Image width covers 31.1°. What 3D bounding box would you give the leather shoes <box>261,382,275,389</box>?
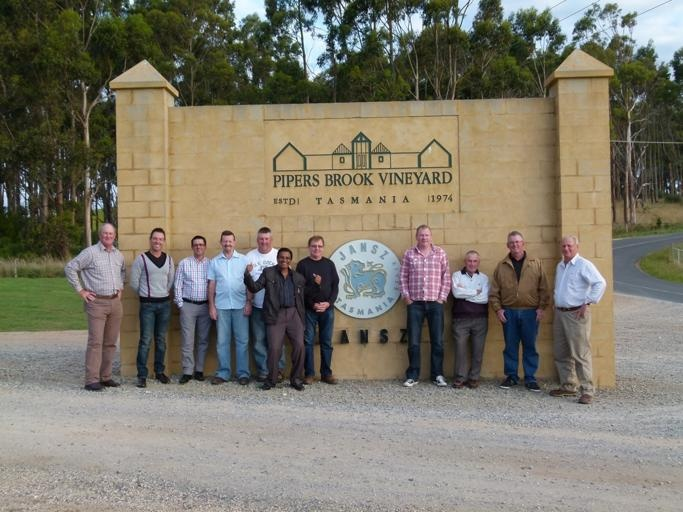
[{"bbox_3d":[-2.233,3.942,37.024,0.398,0.181,0.175,7,-3,-13],"label":"leather shoes"}]

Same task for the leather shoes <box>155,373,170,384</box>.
[{"bbox_3d":[-5.447,3.733,37.354,0.469,0.215,0.232,-4,-1,43],"label":"leather shoes"}]

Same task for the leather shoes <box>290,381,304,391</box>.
[{"bbox_3d":[-1.352,3.919,36.983,0.463,0.205,0.191,3,-3,-24],"label":"leather shoes"}]

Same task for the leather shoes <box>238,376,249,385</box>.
[{"bbox_3d":[-2.962,3.787,37.280,0.338,0.221,0.204,-1,0,-15],"label":"leather shoes"}]

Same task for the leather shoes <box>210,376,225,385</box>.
[{"bbox_3d":[-3.739,3.782,37.327,0.469,0.239,0.254,-1,0,0],"label":"leather shoes"}]

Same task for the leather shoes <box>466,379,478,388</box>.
[{"bbox_3d":[3.937,3.870,37.110,0.381,0.233,0.205,-1,0,6],"label":"leather shoes"}]
